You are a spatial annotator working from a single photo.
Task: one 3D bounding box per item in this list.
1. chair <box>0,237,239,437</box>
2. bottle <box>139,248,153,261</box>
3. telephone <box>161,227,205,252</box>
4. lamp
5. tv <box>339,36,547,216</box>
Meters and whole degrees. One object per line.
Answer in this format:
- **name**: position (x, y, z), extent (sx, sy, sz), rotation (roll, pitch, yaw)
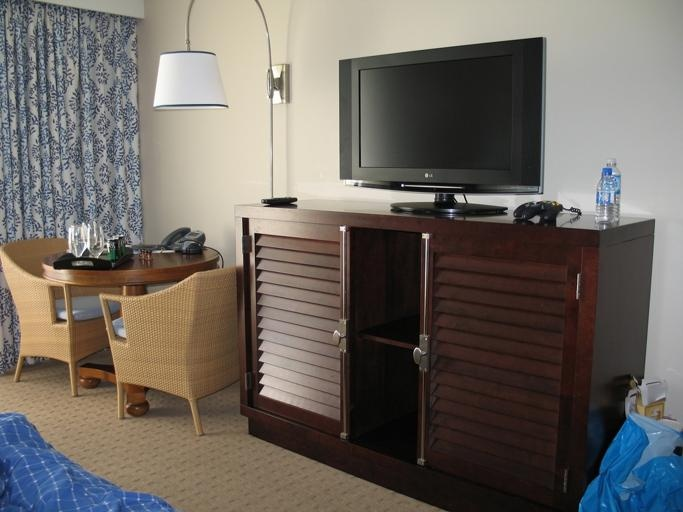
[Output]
- **chair**: position (-1.232, 0.377, 3.510), extent (1.526, 0.895, 0.976), rotation (3, 9, 26)
- **bottle**: position (-1.179, -0.005, 3.368), extent (0.057, 0.067, 0.141), rotation (3, 1, -30)
- **telephone**: position (-1.011, -0.104, 3.594), extent (0.176, 0.115, 0.261), rotation (8, 10, 16)
- **lamp**: position (-0.697, -0.927, 3.208), extent (0.647, 1.209, 0.751), rotation (-2, 13, -6)
- **tv**: position (0.475, -0.587, 2.469), extent (0.931, 0.639, 0.261), rotation (5, 8, 37)
